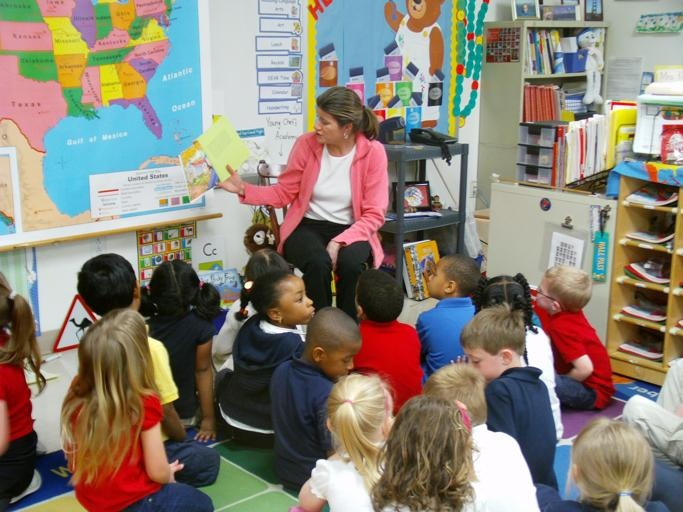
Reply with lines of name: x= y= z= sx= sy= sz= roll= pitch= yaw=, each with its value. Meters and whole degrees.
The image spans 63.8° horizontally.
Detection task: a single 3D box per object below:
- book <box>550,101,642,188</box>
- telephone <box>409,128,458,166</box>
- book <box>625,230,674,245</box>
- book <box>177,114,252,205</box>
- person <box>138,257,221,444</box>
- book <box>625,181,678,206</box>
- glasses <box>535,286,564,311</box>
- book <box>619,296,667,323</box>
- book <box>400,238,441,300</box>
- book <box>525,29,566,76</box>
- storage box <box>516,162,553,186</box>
book: x=1.594 y=-0.703 z=3.440 sx=0.178 sy=0.570 sz=0.398 roll=22 pitch=16 yaw=32
telephone: x=0.705 y=-0.810 z=4.262 sx=0.299 sy=0.143 sz=0.311 roll=-1 pitch=30 yaw=-44
book: x=1.768 y=-0.102 z=3.129 sx=0.125 sy=0.058 sz=0.251 roll=-5 pitch=9 yaw=-26
book: x=-0.707 y=-0.549 z=3.078 sx=0.363 sy=0.448 sz=0.121 roll=-4 pitch=8 yaw=-17
person: x=-0.696 y=0.336 z=2.519 sx=0.327 sy=0.907 sz=0.311 roll=-7 pitch=6 yaw=-35
book: x=1.757 y=-0.333 z=3.101 sx=0.159 sy=0.062 sz=0.156 roll=-29 pitch=30 yaw=-37
glasses: x=1.083 y=0.231 z=2.855 sx=0.107 sy=0.035 sz=0.110 roll=29 pitch=7 yaw=-15
book: x=1.774 y=0.322 z=3.197 sx=0.131 sy=0.066 sz=0.190 roll=-7 pitch=15 yaw=-23
book: x=0.565 y=0.110 z=3.988 sx=0.147 sy=0.421 sz=0.398 roll=0 pitch=9 yaw=30
book: x=1.842 y=-1.844 z=4.992 sx=0.152 sy=0.429 sz=0.426 roll=10 pitch=20 yaw=43
storage box: x=1.321 y=-0.554 z=3.740 sx=0.140 sy=0.111 sz=0.228 roll=-7 pitch=14 yaw=-35
